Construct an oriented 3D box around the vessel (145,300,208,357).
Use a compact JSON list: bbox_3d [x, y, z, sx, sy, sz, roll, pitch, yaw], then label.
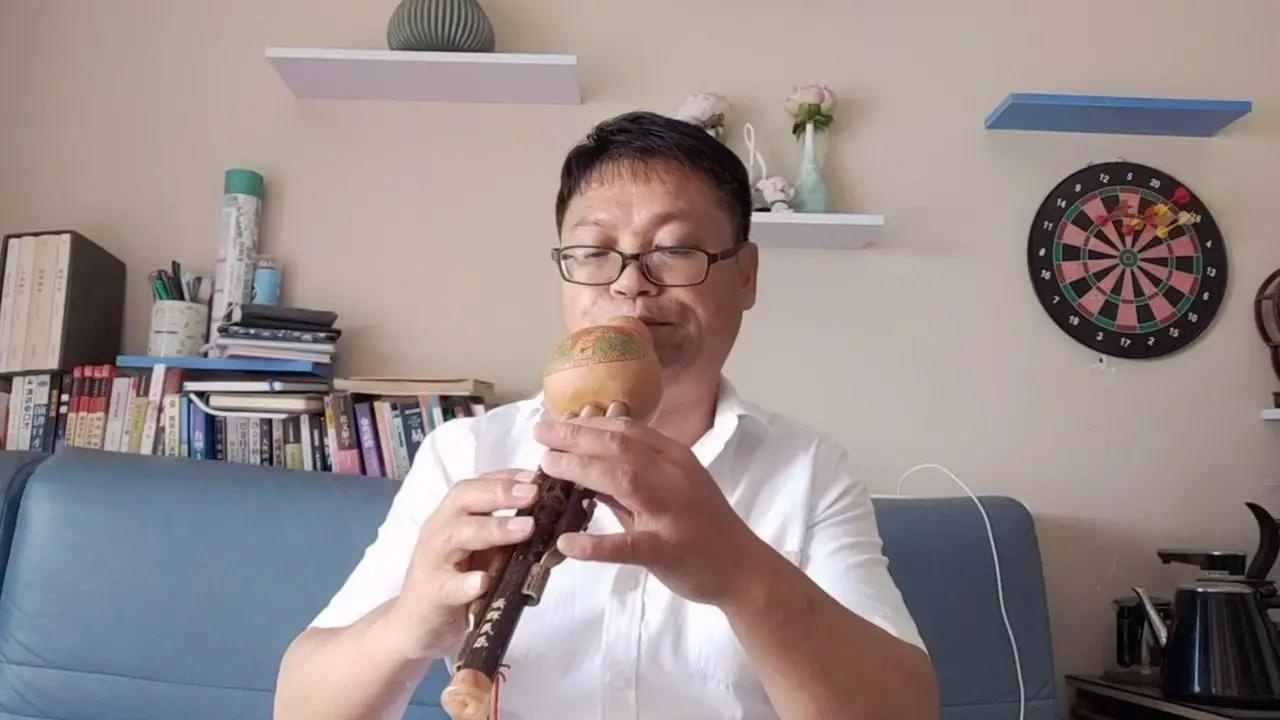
[{"bbox_3d":[-1.689,-0.108,3.235,0.207,0.208,0.206,5,0,-37],"label":"vessel"}]
